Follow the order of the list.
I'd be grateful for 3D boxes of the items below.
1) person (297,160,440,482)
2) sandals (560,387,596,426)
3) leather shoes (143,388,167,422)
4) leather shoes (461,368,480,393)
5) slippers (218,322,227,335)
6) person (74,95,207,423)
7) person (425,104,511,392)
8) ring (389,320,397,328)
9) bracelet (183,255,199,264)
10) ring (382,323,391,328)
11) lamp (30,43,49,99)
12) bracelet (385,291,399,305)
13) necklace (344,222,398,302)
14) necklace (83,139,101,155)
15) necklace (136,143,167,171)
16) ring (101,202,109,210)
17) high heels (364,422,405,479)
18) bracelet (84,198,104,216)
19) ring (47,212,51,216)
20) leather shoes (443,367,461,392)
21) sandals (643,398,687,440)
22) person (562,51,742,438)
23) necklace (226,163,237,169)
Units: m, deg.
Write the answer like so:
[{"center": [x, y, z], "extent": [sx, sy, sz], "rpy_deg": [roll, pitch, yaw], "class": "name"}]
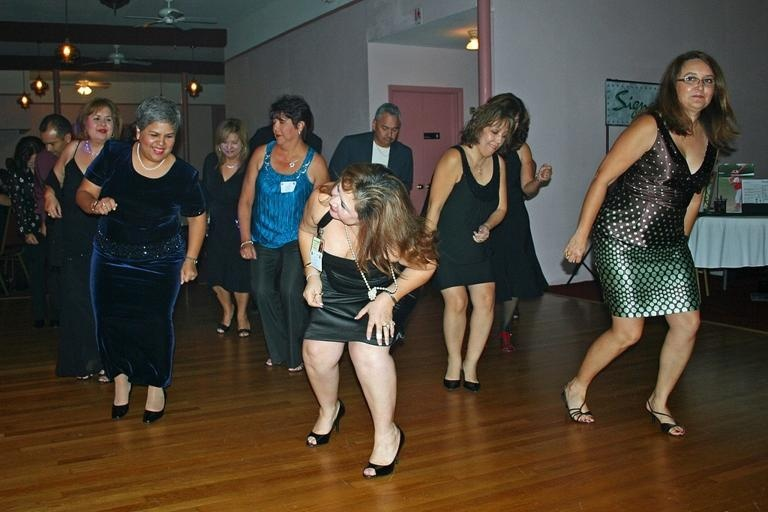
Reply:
[{"center": [-0.115, 0.378, 3.757], "extent": [0.840, 1.810, 0.454], "rpy_deg": [0, 13, 5], "class": "person"}, {"center": [1.343, 1.024, 4.421], "extent": [0.143, 0.105, 0.357], "rpy_deg": [1, 26, -13], "class": "sandals"}, {"center": [-1.604, 1.061, 4.518], "extent": [0.103, 0.115, 0.285], "rpy_deg": [8, 37, 0], "class": "leather shoes"}, {"center": [0.657, 0.962, 4.849], "extent": [0.138, 0.117, 0.417], "rpy_deg": [2, -5, -6], "class": "leather shoes"}, {"center": [-1.637, 0.743, 6.410], "extent": [0.095, 0.068, 0.263], "rpy_deg": [1, 4, -6], "class": "slippers"}, {"center": [-1.643, 0.035, 4.397], "extent": [0.833, 2.197, 0.483], "rpy_deg": [-6, 14, -20], "class": "person"}, {"center": [0.619, -0.015, 4.640], "extent": [0.620, 2.116, 0.288], "rpy_deg": [-2, 13, -6], "class": "person"}, {"center": [0.045, 0.396, 3.675], "extent": [0.036, 0.020, 0.049], "rpy_deg": [6, 36, 6], "class": "ring"}, {"center": [-1.371, 0.022, 4.462], "extent": [0.063, 0.031, 0.056], "rpy_deg": [21, -6, 20], "class": "bracelet"}, {"center": [0.024, 0.401, 3.628], "extent": [0.035, 0.021, 0.026], "rpy_deg": [1, 41, -4], "class": "ring"}, {"center": [-7.324, -3.747, 13.439], "extent": [0.335, 0.798, 0.324], "rpy_deg": [0, 14, -17], "class": "lamp"}, {"center": [0.048, 0.237, 3.647], "extent": [0.024, 0.073, 0.054], "rpy_deg": [-35, 13, -25], "class": "bracelet"}, {"center": [-0.068, 0.117, 3.737], "extent": [0.189, 0.617, 0.052], "rpy_deg": [-12, 29, 22], "class": "necklace"}, {"center": [-2.255, -0.814, 4.893], "extent": [0.123, 0.091, 0.158], "rpy_deg": [0, -4, 0], "class": "necklace"}, {"center": [-1.589, -0.661, 4.252], "extent": [0.193, 0.171, 0.092], "rpy_deg": [2, 13, 11], "class": "necklace"}, {"center": [-1.809, -0.322, 4.104], "extent": [0.045, 0.026, 0.014], "rpy_deg": [-37, 26, 4], "class": "ring"}, {"center": [-0.002, 1.210, 3.878], "extent": [0.129, 0.197, 0.400], "rpy_deg": [4, 5, 37], "class": "high heels"}, {"center": [-1.908, -0.319, 4.172], "extent": [0.074, 0.134, 0.103], "rpy_deg": [19, 17, 21], "class": "bracelet"}, {"center": [-2.551, -0.318, 4.817], "extent": [0.009, 0.040, 0.040], "rpy_deg": [-8, -4, 21], "class": "ring"}, {"center": [0.531, 0.957, 4.869], "extent": [0.126, 0.086, 0.330], "rpy_deg": [0, 9, 7], "class": "leather shoes"}, {"center": [1.884, 1.100, 4.256], "extent": [0.118, 0.075, 0.275], "rpy_deg": [-15, 37, -10], "class": "sandals"}, {"center": [1.696, -0.048, 4.065], "extent": [0.952, 2.417, 0.465], "rpy_deg": [3, 14, 16], "class": "person"}, {"center": [-1.490, -0.877, 6.215], "extent": [0.048, 0.048, 0.014], "rpy_deg": [2, 40, 0], "class": "necklace"}]
